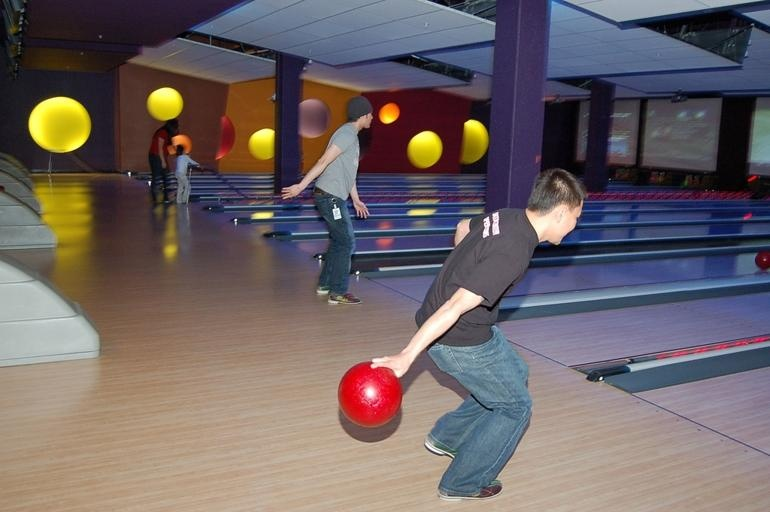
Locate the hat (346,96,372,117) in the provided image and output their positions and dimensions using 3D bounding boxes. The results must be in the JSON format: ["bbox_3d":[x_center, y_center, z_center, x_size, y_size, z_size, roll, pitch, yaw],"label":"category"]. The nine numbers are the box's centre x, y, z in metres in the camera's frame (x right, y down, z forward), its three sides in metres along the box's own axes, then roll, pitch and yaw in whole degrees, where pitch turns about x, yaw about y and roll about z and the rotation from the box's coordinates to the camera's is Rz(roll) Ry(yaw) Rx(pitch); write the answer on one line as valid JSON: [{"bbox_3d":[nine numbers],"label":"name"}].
[{"bbox_3d":[-0.182,-1.039,3.274,0.155,0.196,0.174,4,10,-6],"label":"hat"}]

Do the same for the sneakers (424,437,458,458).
[{"bbox_3d":[0.231,0.820,1.965,0.154,0.062,0.053,30,17,-33],"label":"sneakers"}]

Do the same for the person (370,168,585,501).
[{"bbox_3d":[0.318,0.289,1.741,0.760,1.257,0.405,-2,13,-33],"label":"person"}]

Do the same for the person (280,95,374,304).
[{"bbox_3d":[-0.412,-0.478,3.651,0.578,1.643,1.040,4,11,-4],"label":"person"}]

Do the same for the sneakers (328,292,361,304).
[{"bbox_3d":[-0.316,0.325,3.626,0.244,0.091,0.090,0,4,-11],"label":"sneakers"}]
